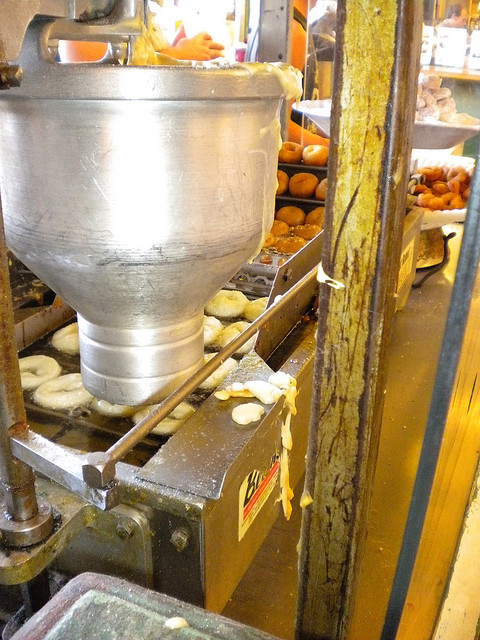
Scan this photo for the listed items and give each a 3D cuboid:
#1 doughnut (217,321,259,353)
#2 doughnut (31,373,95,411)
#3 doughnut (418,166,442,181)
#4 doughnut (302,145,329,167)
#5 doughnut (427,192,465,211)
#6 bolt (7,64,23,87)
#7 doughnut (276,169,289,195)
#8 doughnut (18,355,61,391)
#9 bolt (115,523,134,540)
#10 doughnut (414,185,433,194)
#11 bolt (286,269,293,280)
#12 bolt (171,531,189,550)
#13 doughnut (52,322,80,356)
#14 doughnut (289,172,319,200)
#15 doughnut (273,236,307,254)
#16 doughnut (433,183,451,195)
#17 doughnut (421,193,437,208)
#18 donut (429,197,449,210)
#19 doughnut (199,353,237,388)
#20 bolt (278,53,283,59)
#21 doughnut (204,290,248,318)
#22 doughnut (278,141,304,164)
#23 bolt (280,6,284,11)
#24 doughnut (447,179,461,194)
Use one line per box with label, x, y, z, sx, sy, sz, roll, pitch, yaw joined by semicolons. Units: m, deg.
doughnut;-0.008;0.052;1.681;0.092;0.031;0.098;-11;38;14
doughnut;-0.471;0.191;1.371;0.132;0.046;0.161;-13;27;-32
doughnut;0.988;-0.783;2.742;0.095;0.037;0.094;-37;42;-26
doughnut;0.390;-0.858;2.720;0.127;0.090;0.210;5;23;6
doughnut;0.999;-0.570;2.507;0.104;0.057;0.139;6;21;30
bolt;-0.233;-0.253;0.541;0.014;0.019;0.025;-7;24;-22
doughnut;0.225;-0.711;2.692;0.058;0.117;0.139;4;22;4
doughnut;-0.565;0.140;1.470;0.103;0.035;0.111;4;29;-3
bolt;-0.214;0.387;0.963;0.024;0.035;0.012;-30;5;-1
doughnut;0.930;-0.663;2.640;0.068;0.030;0.052;12;18;-1
bolt;0.143;-0.131;1.487;0.007;0.028;0.027;9;-18;15
bolt;-0.108;0.393;0.942;0.026;0.032;0.031;5;-14;-24
doughnut;-0.549;0.051;1.642;0.078;0.054;0.190;-6;24;-20
doughnut;0.319;-0.682;2.621;0.121;0.069;0.135;1;60;20
doughnut;0.231;-0.333;2.319;0.157;0.048;0.131;-4;24;-15
doughnut;1.007;-0.661;2.611;0.052;0.030;0.072;26;36;23
doughnut;0.921;-0.598;2.540;0.066;0.048;0.089;12;53;31
donut;0.951;-0.569;2.477;0.065;0.037;0.063;37;36;27
doughnut;-0.062;0.149;1.494;0.090;0.034;0.090;-36;2;35
bolt;0.246;-1.572;3.104;0.014;0.029;0.034;-3;23;-14
doughnut;-0.033;-0.068;1.958;0.145;0.052;0.197;12;25;21
doughnut;0.280;-0.899;2.798;0.125;0.090;0.234;5;23;6
bolt;0.242;-1.780;2.974;0.015;0.017;0.004;16;29;11
doughnut;1.055;-0.661;2.569;0.027;0.073;0.051;10;-15;-40
